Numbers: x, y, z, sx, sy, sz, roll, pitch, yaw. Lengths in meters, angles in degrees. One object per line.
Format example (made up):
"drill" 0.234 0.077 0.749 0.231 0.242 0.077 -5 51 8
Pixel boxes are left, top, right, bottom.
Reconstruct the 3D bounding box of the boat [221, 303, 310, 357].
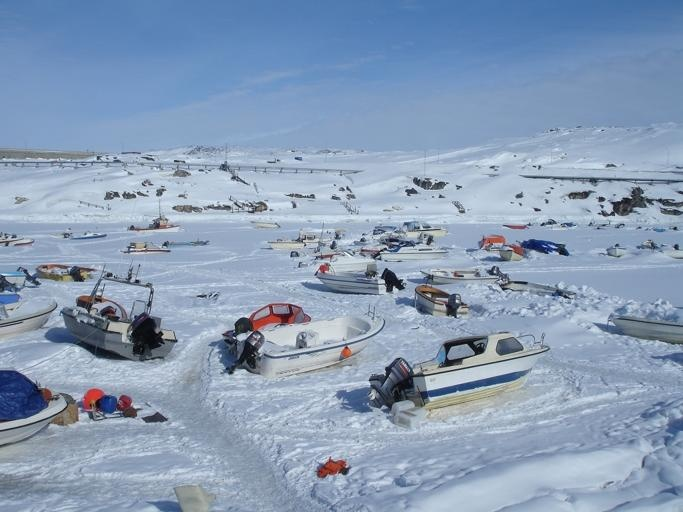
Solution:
"boat" -3.186 2.834 23.421 1.986 0.857 3.156 24 25 28

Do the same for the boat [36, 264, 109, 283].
"boat" -15.888 0.959 32.951 2.433 0.577 1.553 5 4 27

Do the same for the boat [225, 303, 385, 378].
"boat" -0.975 3.281 21.529 5.846 1.259 2.326 -3 11 -24

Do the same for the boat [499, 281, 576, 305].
"boat" 9.734 1.788 28.544 3.277 0.240 1.030 10 12 42

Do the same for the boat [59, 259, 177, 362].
"boat" -9.328 2.460 24.028 6.526 2.657 4.218 7 1 44

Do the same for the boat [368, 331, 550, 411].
"boat" 3.448 3.650 19.131 7.930 1.455 2.077 -6 11 -19

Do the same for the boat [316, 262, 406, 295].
"boat" 0.791 1.350 31.195 4.448 0.983 1.856 1 1 28
